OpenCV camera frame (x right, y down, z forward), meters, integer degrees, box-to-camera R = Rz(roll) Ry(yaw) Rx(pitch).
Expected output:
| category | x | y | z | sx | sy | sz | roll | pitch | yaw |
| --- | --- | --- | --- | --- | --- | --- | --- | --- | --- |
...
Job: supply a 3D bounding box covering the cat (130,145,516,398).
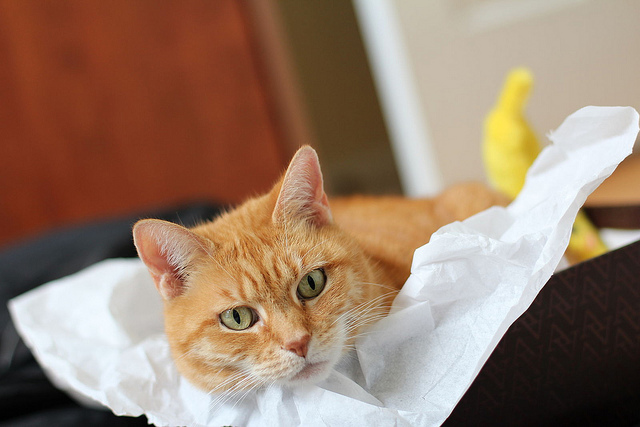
| category | x | y | z | sx | sy | sz | roll | pitch | yaw |
| --- | --- | --- | --- | --- | --- | --- | --- | --- | --- |
| cat | 0.004 | 0.251 | 2.189 | 0.780 | 0.526 | 1.028 | -23 | 14 | 20 |
